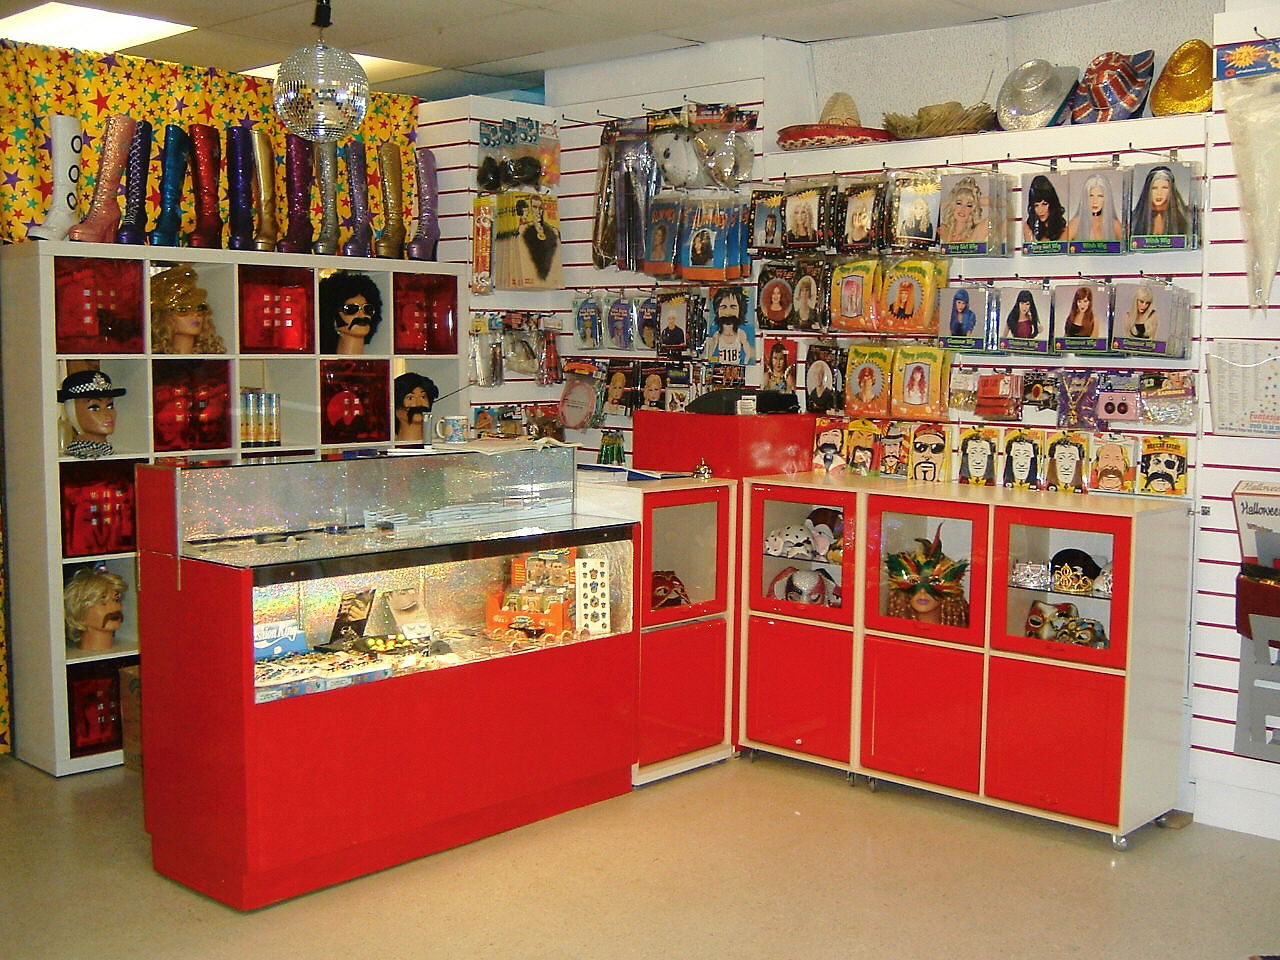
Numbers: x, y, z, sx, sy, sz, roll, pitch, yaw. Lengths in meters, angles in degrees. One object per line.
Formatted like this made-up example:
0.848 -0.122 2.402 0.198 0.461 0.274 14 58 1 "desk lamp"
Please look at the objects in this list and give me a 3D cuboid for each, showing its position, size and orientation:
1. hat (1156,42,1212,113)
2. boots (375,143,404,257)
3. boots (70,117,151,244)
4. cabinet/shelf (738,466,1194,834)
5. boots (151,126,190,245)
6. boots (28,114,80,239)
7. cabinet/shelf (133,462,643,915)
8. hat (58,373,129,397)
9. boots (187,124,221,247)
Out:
2.736 -2.041 5.140 0.305 0.382 0.136 6 8 39 "hat"
-1.669 -1.894 6.852 0.157 0.767 0.241 -1 7 -13 "boots"
-3.040 -1.729 5.784 0.216 0.743 0.490 1 7 9 "boots"
1.728 0.896 5.171 1.708 1.293 0.556 4 2 39 "cabinet/shelf"
-2.765 -1.759 6.016 0.222 0.752 0.525 -2 7 -24 "boots"
-3.303 -1.726 5.762 0.276 0.721 0.430 -3 7 -28 "boots"
-1.169 0.955 4.513 0.664 1.434 1.753 2 5 42 "cabinet/shelf"
-3.032 -0.543 5.700 0.230 0.151 0.389 3 8 21 "hat"
-2.601 -1.780 6.104 0.173 0.754 0.382 -2 7 -21 "boots"
